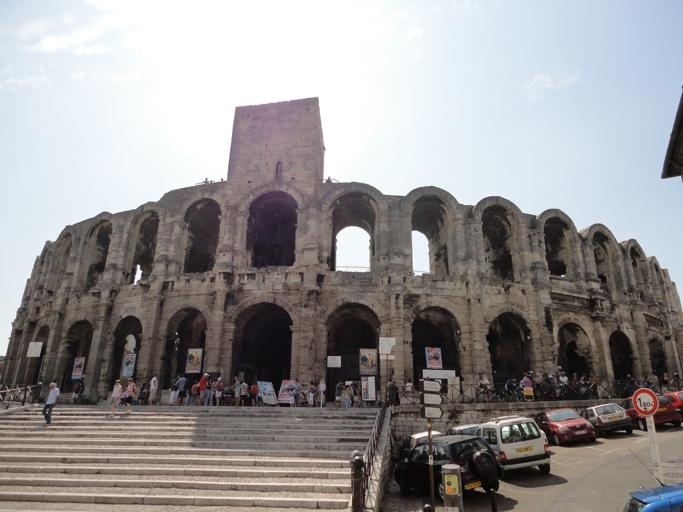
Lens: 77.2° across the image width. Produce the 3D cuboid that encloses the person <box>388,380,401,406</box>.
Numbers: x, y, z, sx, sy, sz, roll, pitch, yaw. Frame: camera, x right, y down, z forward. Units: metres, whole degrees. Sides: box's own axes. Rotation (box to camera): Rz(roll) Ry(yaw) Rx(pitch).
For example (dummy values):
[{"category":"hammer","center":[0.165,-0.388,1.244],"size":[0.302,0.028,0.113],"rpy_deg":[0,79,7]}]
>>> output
[{"category":"person","center":[2.471,6.597,20.420],"size":[0.545,1.108,1.075],"rpy_deg":[-3,-22,7]}]

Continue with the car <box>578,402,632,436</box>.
[{"category":"car","center":[11.868,7.405,19.508],"size":[1.188,0.944,2.023],"rpy_deg":[-2,-13,1]}]

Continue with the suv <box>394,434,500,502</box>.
[{"category":"suv","center":[3.376,6.821,13.944],"size":[1.903,1.708,3.253],"rpy_deg":[16,-25,-36]}]

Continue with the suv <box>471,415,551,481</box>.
[{"category":"suv","center":[5.876,6.665,15.344],"size":[1.523,1.424,2.665],"rpy_deg":[-1,-16,-4]}]

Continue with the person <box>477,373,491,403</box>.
[{"category":"person","center":[7.902,7.402,23.632],"size":[0.764,1.180,1.379],"rpy_deg":[-7,-23,15]}]
